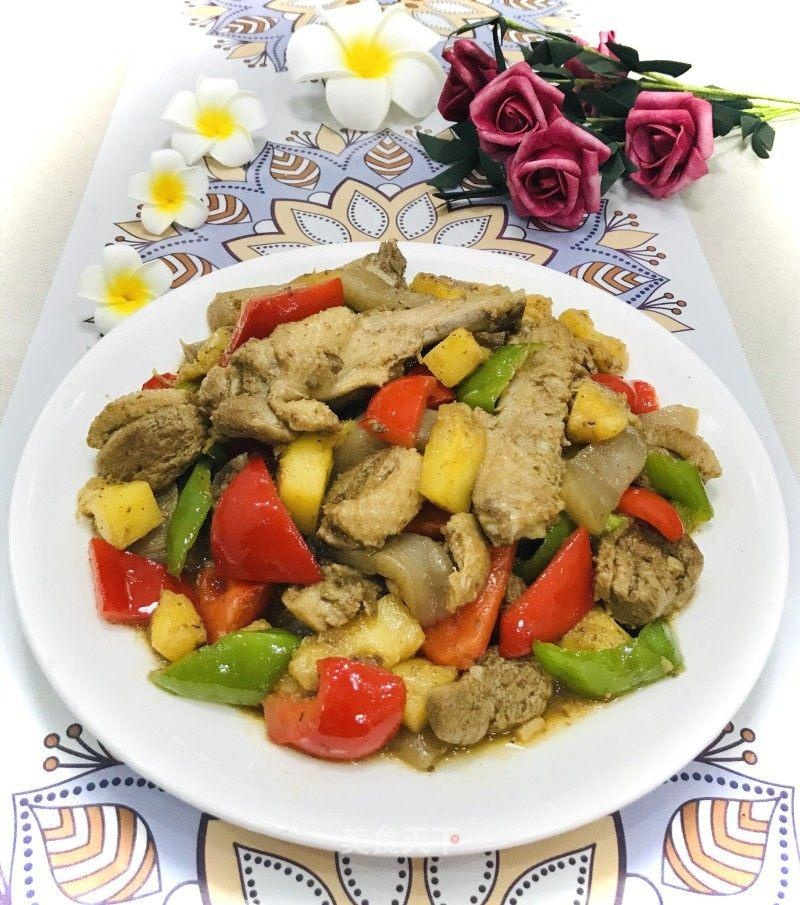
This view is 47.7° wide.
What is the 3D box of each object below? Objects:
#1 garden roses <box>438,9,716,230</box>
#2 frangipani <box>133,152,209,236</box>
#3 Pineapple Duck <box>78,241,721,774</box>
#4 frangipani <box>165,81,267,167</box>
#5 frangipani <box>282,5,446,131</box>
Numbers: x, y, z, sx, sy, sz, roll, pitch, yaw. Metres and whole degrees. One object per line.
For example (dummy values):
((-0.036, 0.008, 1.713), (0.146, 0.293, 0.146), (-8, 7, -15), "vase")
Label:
((1.085, -1.636, 4.600), (0.865, 1.082, 1.440), (-22, 33, -33), "garden roses")
((-1.090, -1.213, 4.272), (0.470, 0.142, 0.376), (-2, 84, -20), "frangipani")
((-0.008, 0.257, 2.969), (1.891, 0.535, 1.525), (1, 56, -6), "Pineapple Duck")
((-0.967, -1.703, 4.654), (0.542, 0.467, 0.168), (-14, 60, -36), "frangipani")
((-0.152, -2.051, 4.869), (0.860, 0.236, 0.650), (-8, 84, -16), "frangipani")
